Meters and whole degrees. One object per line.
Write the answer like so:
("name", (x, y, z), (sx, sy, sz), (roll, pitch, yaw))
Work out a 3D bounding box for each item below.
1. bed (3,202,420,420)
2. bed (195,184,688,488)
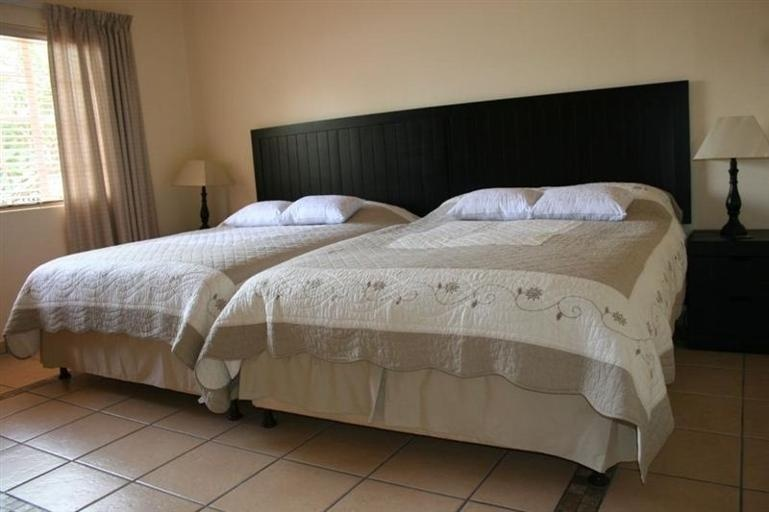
("bed", (-1.150, 0.203, 4.076), (1.569, 0.772, 1.950), (4, 7, 32))
("bed", (0.501, 0.386, 2.764), (1.453, 0.683, 1.933), (2, 14, 27))
